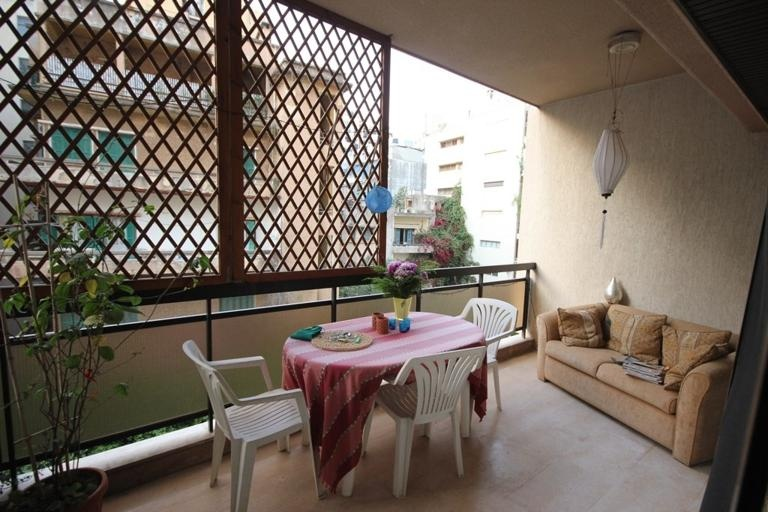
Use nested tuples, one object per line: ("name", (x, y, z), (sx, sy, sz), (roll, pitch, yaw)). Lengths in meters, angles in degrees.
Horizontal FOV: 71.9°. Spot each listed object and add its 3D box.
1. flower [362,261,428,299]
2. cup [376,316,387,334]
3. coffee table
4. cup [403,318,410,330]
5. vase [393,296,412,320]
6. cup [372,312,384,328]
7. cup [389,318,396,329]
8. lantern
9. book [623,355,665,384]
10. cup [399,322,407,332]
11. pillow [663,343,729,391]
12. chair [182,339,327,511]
("flower", (0.108, 0.176, 4.191), (0.320, 0.238, 0.332), (-2, 5, -8))
("cup", (-0.015, 0.527, 4.041), (0.108, 0.129, 0.107), (1, 5, 0))
("coffee table", (-0.066, 1.112, 3.686), (1.477, 0.765, 1.054), (-5, 8, -41))
("cup", (0.176, 0.528, 4.136), (0.068, 0.084, 0.071), (2, 3, 0))
("vase", (0.139, 0.411, 4.226), (0.152, 0.169, 0.167), (-2, 4, -10))
("cup", (-0.066, 0.503, 4.104), (0.070, 0.107, 0.113), (1, 1, -16))
("cup", (0.066, 0.531, 4.132), (0.062, 0.076, 0.064), (1, -2, 0))
("lantern", (2.108, -0.655, 4.902), (0.276, 1.186, 0.835), (1, 3, 27))
("book", (2.157, 0.943, 4.406), (0.325, 0.135, 0.329), (1, 3, 30))
("cup", (0.152, 0.545, 4.086), (0.068, 0.078, 0.071), (0, -2, 0))
("pillow", (2.439, 0.863, 4.109), (0.509, 0.363, 0.197), (-1, 3, -13))
("chair", (-0.911, 1.035, 4.122), (1.064, 1.497, 0.936), (-7, 13, -30))
